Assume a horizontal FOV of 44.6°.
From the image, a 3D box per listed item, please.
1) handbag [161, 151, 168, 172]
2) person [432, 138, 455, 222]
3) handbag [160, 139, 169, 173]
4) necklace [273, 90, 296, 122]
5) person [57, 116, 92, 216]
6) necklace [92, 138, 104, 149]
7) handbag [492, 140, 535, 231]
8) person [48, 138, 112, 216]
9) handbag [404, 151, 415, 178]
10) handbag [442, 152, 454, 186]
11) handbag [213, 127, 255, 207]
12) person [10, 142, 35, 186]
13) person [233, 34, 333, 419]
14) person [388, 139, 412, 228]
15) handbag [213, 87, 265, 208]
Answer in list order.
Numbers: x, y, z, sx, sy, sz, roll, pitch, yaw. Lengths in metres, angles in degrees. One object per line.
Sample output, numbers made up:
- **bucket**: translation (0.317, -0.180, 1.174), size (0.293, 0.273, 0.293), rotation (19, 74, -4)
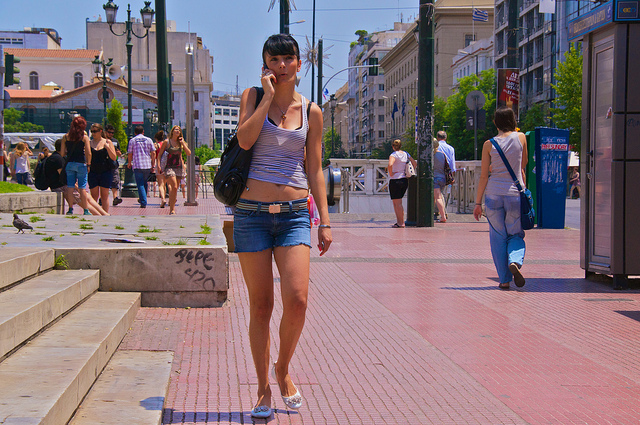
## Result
- **handbag**: translation (-3.412, -1.128, 17.139), size (0.071, 0.327, 0.231), rotation (11, 7, -14)
- **person**: translation (2.913, -0.706, 18.478), size (0.496, 2.087, 1.230), rotation (3, 9, 10)
- **handbag**: translation (-3.388, -1.125, 17.132), size (0.170, 0.492, 0.203), rotation (-1, 9, -18)
- **necklace**: translation (-0.274, -0.839, 6.209), size (0.191, 0.235, 0.117), rotation (0, 9, -14)
- **person**: translation (-4.686, -0.860, 14.982), size (0.646, 2.014, 1.406), rotation (-1, 10, -19)
- **necklace**: translation (-4.385, -1.359, 15.501), size (0.204, 0.187, 0.173), rotation (-1, 10, -17)
- **handbag**: translation (2.533, -0.331, 10.100), size (0.563, 1.134, 0.331), rotation (6, 10, 25)
- **person**: translation (-5.057, -0.687, 16.010), size (0.731, 1.792, 1.454), rotation (4, 17, 13)
- **handbag**: translation (2.076, -1.030, 17.835), size (0.210, 0.490, 0.295), rotation (4, 9, 11)
- **handbag**: translation (3.031, -0.971, 18.383), size (0.321, 0.496, 0.453), rotation (13, 29, 22)
- **handbag**: translation (-0.727, -0.358, 6.430), size (0.306, 0.692, 0.760), rotation (0, 10, -12)
- **person**: translation (-10.775, -1.640, 28.153), size (0.707, 1.793, 0.595), rotation (3, 19, -15)
- **person**: translation (-0.313, 0.093, 6.157), size (0.627, 2.935, 0.731), rotation (8, 10, 34)
- **person**: translation (1.884, -0.687, 18.225), size (0.532, 2.033, 1.507), rotation (3, 9, 6)
- **handbag**: translation (-0.679, -0.373, 6.161), size (0.313, 0.656, 0.218), rotation (1, 9, -9)
